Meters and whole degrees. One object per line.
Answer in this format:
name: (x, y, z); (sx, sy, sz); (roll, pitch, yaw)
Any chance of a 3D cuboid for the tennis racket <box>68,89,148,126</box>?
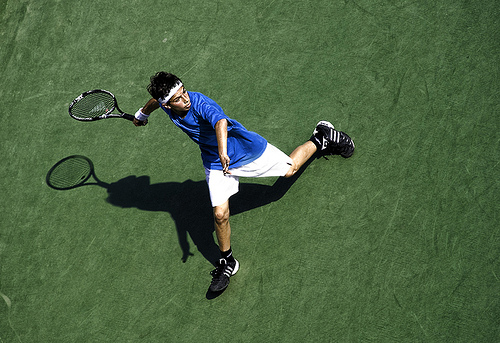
tennis racket: (-2.390, -1.018, 9.402); (1.389, 0.114, 0.632); (20, 61, 37)
